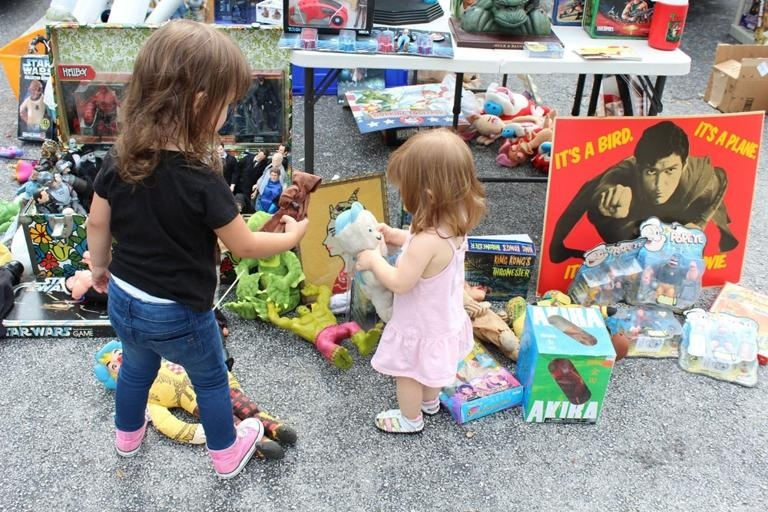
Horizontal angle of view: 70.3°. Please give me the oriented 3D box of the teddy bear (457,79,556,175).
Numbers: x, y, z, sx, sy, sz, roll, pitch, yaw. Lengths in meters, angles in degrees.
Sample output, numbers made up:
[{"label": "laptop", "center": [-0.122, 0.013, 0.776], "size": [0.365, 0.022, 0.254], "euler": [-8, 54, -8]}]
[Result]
[{"label": "teddy bear", "center": [1.024, -1.150, 4.939], "size": [0.938, 0.694, 0.448], "euler": [32, -15, 0]}]

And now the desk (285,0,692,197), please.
[{"label": "desk", "center": [0.922, -1.197, 4.341], "size": [2.131, 0.938, 1.476], "euler": [1, 53, -1]}]

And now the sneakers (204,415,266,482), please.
[{"label": "sneakers", "center": [-0.711, 0.890, 2.644], "size": [0.147, 0.159, 0.354], "euler": [2, 24, 17]}]

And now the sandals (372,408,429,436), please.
[{"label": "sandals", "center": [0.074, 0.852, 2.833], "size": [0.226, 0.094, 0.115], "euler": [6, 31, 4]}]

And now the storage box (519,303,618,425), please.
[{"label": "storage box", "center": [0.977, 0.581, 2.944], "size": [0.441, 0.511, 0.460], "euler": [10, 36, 21]}]

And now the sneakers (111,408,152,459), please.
[{"label": "sneakers", "center": [-1.225, 0.848, 2.727], "size": [0.110, 0.135, 0.320], "euler": [-2, 23, -5]}]

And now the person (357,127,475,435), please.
[{"label": "person", "center": [0.156, 0.164, 2.734], "size": [0.618, 1.475, 0.542], "euler": [16, 22, 35]}]
